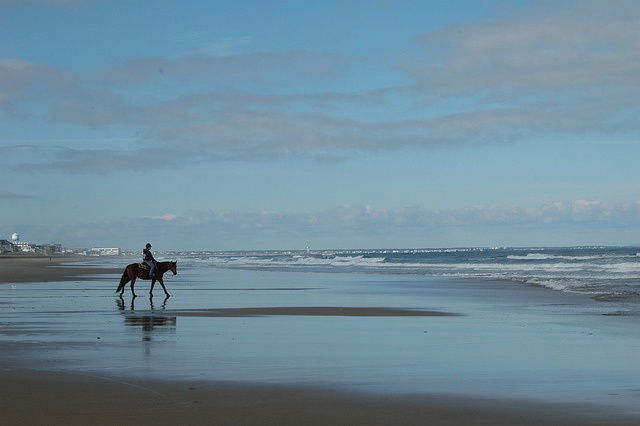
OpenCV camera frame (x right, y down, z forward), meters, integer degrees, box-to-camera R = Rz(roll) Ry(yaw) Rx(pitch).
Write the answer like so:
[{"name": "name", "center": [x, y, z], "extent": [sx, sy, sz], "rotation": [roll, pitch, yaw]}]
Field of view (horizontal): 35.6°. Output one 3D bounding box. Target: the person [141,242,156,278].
[{"name": "person", "center": [-7.135, 2.037, 41.601], "extent": [0.523, 1.312, 1.174], "rotation": [1, 2, -9]}]
